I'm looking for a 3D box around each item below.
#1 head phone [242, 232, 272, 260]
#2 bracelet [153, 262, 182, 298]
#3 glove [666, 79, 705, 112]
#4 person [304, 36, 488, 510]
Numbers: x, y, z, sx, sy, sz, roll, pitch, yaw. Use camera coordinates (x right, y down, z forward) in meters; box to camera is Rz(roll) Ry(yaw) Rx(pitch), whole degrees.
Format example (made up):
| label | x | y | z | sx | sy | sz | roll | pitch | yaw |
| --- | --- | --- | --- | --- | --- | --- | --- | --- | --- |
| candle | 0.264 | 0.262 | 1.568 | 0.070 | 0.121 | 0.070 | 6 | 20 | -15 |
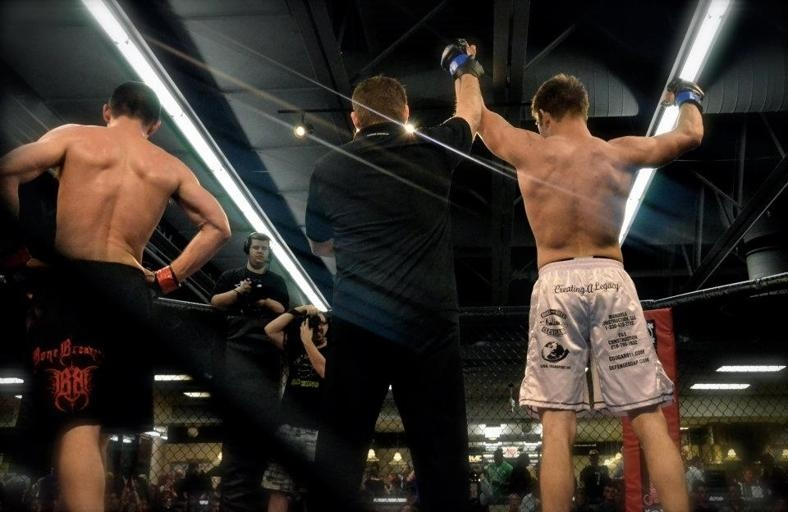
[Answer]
| label | x | y | z | sx | sy | sz | roll | pitch | yaw |
| --- | --- | --- | --- | --- | --- | --- | --- | --- | --- |
| head phone | -1.529 | -0.116 | 7.865 | 0.451 | 0.353 | 0.170 | 4 | -13 | -18 |
| bracelet | -1.795 | 0.192 | 5.588 | 0.190 | 0.188 | 0.225 | -9 | -63 | -6 |
| glove | 2.611 | -1.434 | 6.355 | 0.266 | 0.158 | 0.335 | 27 | -16 | -2 |
| person | 0.001 | -0.073 | 5.163 | 1.286 | 3.643 | 0.792 | 3 | -25 | -6 |
